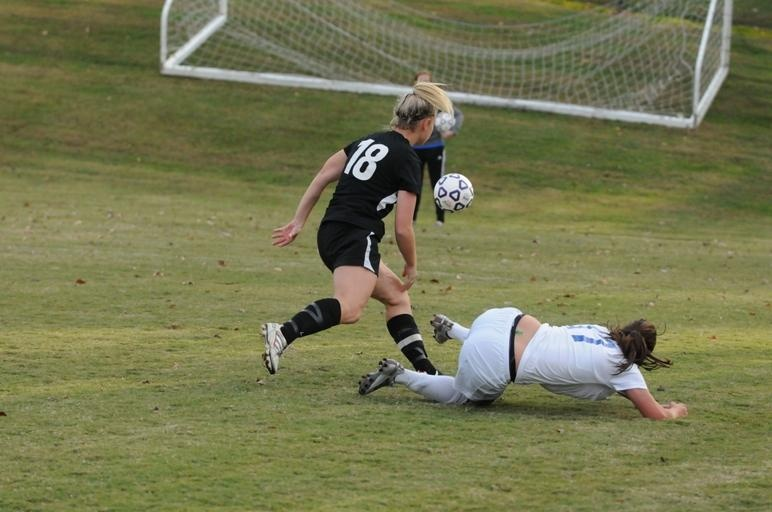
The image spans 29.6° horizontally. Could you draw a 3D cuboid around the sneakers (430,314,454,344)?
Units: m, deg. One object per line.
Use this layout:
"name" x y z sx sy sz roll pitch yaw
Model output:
"sneakers" 0.737 0.902 18.416 0.261 0.374 0.195 10 28 31
